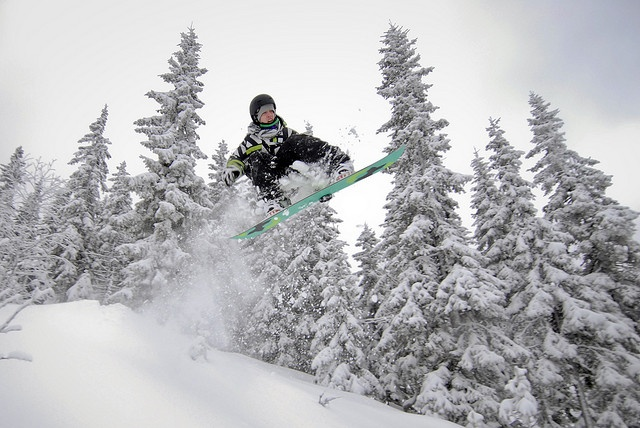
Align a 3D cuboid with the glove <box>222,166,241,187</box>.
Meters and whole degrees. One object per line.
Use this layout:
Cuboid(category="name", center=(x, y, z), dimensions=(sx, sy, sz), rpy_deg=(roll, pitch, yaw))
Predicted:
Cuboid(category="glove", center=(-3.089, -1.349, 17.978), dimensions=(0.622, 0.621, 0.245), rpy_deg=(7, -38, 52))
